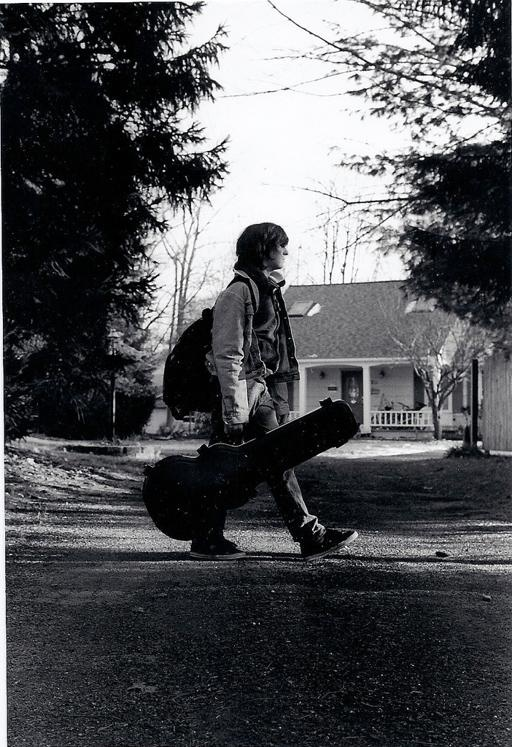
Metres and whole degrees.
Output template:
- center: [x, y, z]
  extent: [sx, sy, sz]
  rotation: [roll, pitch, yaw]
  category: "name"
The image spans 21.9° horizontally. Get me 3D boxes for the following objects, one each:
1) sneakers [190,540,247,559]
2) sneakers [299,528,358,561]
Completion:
- center: [-0.129, 0.602, 4.567]
  extent: [0.174, 0.084, 0.071]
  rotation: [1, -5, 3]
  category: "sneakers"
- center: [0.247, 0.581, 4.554]
  extent: [0.210, 0.105, 0.080]
  rotation: [-23, -2, -15]
  category: "sneakers"
